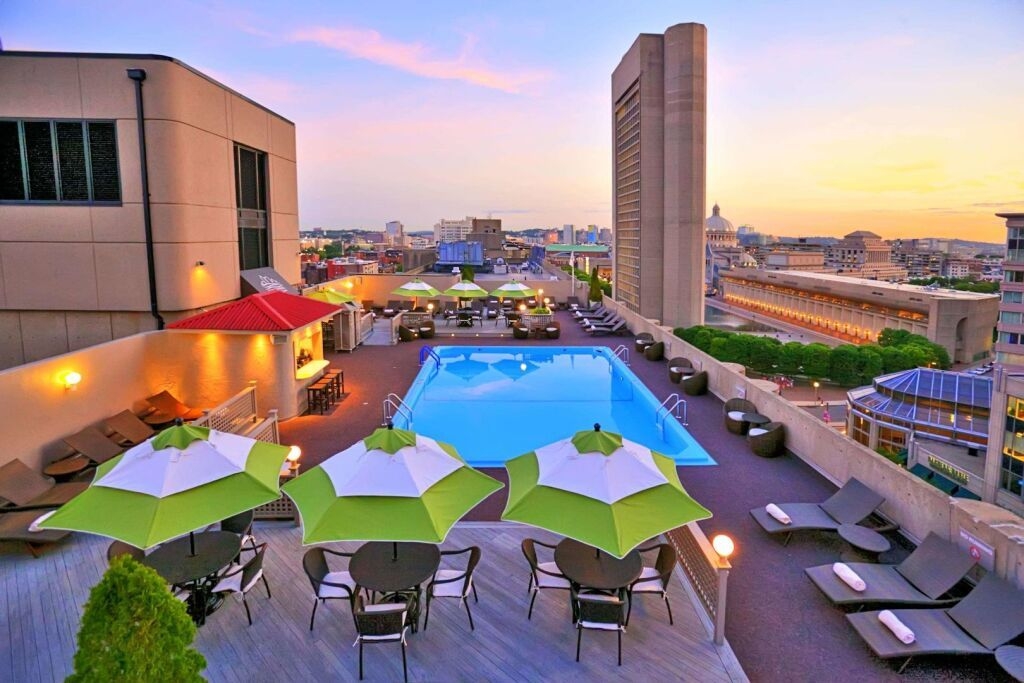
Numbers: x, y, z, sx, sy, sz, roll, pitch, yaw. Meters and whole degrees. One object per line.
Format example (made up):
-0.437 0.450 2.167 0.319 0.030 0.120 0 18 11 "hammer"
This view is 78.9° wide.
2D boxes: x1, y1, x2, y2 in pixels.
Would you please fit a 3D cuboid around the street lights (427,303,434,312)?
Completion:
-5.430 -2.294 42.014 0.461 0.778 0.776 -1 -2 -3 "street lights"

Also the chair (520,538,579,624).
0.780 5.134 14.230 1.444 1.878 1.440 0 22 5 "chair"

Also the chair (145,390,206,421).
-11.227 2.122 20.689 2.102 0.525 0.964 9 14 26 "chair"

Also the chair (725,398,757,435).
7.595 2.512 21.020 1.032 1.050 1.106 2 2 8 "chair"

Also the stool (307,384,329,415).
-7.082 2.082 22.771 0.674 0.969 0.625 -1 14 -15 "stool"

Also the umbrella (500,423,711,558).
1.824 3.185 12.919 3.340 1.106 3.143 -10 25 -25 "umbrella"

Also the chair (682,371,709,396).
7.134 1.642 24.643 0.923 0.816 0.954 6 7 29 "chair"

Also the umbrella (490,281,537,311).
0.141 -2.341 36.492 2.181 1.551 2.167 -1 9 1 "umbrella"

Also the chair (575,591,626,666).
1.788 5.898 13.200 1.211 1.735 1.264 1 15 4 "chair"

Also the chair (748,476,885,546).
7.674 4.408 15.796 2.749 1.002 1.402 -5 10 -4 "chair"

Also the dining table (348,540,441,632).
-2.520 5.049 13.792 1.883 1.816 1.810 2 18 2 "dining table"

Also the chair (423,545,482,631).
-1.212 5.328 14.305 1.479 2.030 1.557 3 5 -3 "chair"

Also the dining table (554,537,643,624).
1.813 4.878 13.431 1.611 1.078 1.535 -2 31 -13 "dining table"

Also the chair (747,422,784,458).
7.963 3.131 19.653 1.007 0.929 1.076 2 4 21 "chair"

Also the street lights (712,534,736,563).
4.474 4.425 13.310 0.356 0.624 0.427 11 16 31 "street lights"

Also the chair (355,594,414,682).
-2.657 6.033 12.682 1.201 1.458 1.018 1 13 -5 "chair"

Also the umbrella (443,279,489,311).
-2.614 -2.867 35.923 2.094 1.045 2.089 3 10 3 "umbrella"

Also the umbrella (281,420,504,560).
-2.567 2.959 12.906 3.762 1.742 1.865 1 13 -6 "umbrella"

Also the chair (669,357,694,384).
7.039 1.198 26.112 0.887 0.890 1.029 1 5 12 "chair"
